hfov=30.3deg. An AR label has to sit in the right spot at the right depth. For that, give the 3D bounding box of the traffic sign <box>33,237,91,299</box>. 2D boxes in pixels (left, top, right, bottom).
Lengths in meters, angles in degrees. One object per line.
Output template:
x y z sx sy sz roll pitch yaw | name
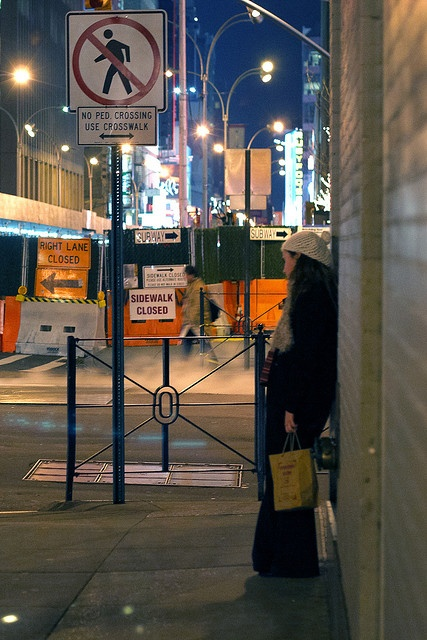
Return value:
-3.508 -1.225 18.420 0.989 1.527 0.059 4 16 -2 | traffic sign

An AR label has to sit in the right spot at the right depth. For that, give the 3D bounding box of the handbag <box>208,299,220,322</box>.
0.008 -0.201 16.779 0.240 0.410 0.370 0 -6 0 | handbag

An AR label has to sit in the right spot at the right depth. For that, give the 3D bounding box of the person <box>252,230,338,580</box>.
0.432 0.416 4.180 0.473 1.830 0.451 -1 -1 12 | person

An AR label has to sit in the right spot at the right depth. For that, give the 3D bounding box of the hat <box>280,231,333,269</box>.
0.523 -0.389 4.309 0.164 0.235 0.215 4 -8 -33 | hat

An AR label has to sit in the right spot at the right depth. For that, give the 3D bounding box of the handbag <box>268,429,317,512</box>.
0.409 0.777 4.022 0.226 0.502 0.160 -11 -18 10 | handbag
